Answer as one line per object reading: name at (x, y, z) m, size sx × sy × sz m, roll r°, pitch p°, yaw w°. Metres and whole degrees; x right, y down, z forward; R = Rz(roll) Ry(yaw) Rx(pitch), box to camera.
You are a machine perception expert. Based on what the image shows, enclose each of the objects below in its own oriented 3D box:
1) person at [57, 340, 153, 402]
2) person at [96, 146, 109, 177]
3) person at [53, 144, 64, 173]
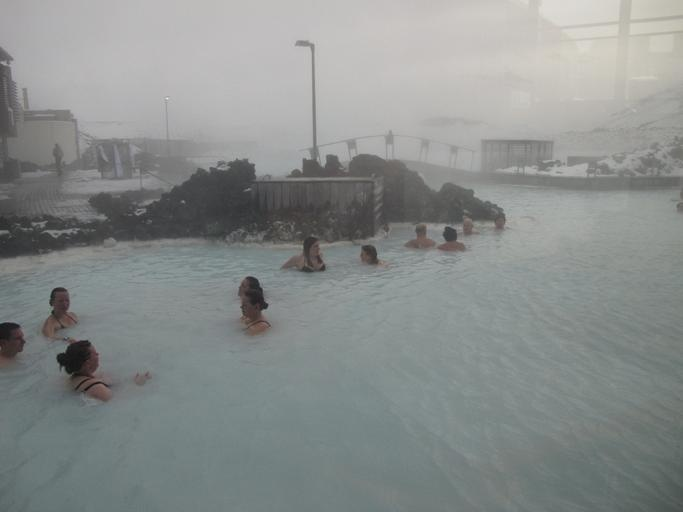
person at (-2.854, 1.293, 5.689) m, size 0.972 × 0.647 × 0.867 m, roll -6°, pitch 5°, yaw 8°
person at (-9.387, -3.728, 19.471) m, size 0.406 × 1.292 × 0.906 m, roll -6°, pitch 10°, yaw -25°
person at (-10.166, -3.482, 17.739) m, size 0.307 × 1.119 × 0.951 m, roll -6°, pitch 10°, yaw -29°
